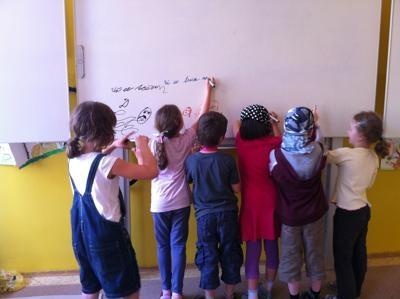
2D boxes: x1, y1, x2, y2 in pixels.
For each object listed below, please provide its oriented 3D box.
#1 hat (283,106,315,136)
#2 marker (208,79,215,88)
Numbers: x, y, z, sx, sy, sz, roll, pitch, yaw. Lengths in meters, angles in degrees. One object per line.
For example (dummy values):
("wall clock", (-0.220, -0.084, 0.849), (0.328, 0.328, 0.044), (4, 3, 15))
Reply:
("hat", (0.680, -0.163, 2.432), (0.183, 0.246, 0.259), (-5, 3, 29))
("marker", (0.087, -0.496, 2.604), (0.033, 0.064, 0.015), (-5, -5, -27))
